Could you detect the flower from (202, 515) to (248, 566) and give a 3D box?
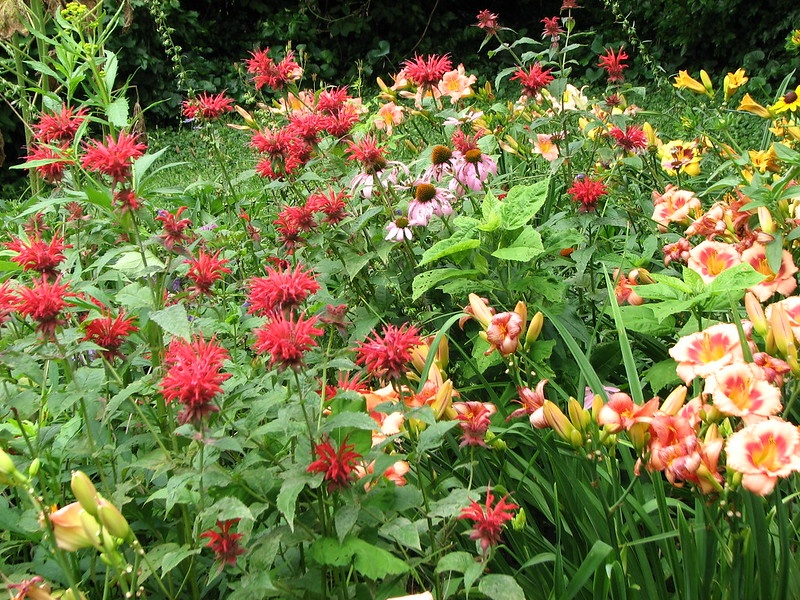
[{"bbox_3d":[-0.436,0.590,1.780,0.081,0.122,0.124,-6,40,-33],"label":"flower"}]

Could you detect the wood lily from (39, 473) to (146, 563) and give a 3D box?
[{"bbox_3d":[-0.633,0.459,1.475,0.142,0.255,0.121,-4,7,-20],"label":"wood lily"}]
